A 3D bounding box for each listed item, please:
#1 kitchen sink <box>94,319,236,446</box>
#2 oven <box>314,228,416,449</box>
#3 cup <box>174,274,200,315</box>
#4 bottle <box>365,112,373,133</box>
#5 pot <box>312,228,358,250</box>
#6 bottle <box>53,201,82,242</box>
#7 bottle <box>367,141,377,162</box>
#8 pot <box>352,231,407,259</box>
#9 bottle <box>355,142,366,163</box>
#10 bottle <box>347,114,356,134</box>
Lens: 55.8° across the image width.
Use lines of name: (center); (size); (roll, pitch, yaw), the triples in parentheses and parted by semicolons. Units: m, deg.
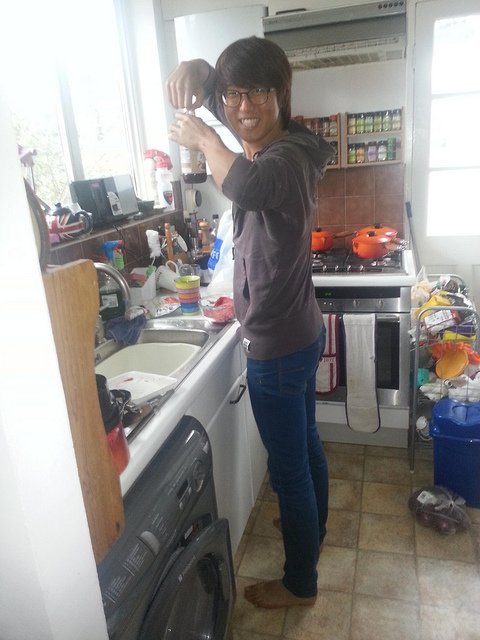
kitchen sink: (-0.273, 0.173, 1.557); (0.360, 0.329, 0.373); (6, 19, 10)
oven: (0.619, 0.206, 2.335); (0.389, 0.696, 0.345); (8, -10, -44)
cup: (-0.215, -0.100, 1.918); (0.106, 0.160, 0.114); (-2, 15, 1)
bottle: (0.732, -1.127, 2.596); (0.041, 0.103, 0.028); (0, 18, 17)
pot: (0.489, -0.438, 2.459); (0.167, 0.087, 0.120); (0, 18, 12)
bottle: (-0.639, -0.381, 1.690); (0.069, 0.150, 0.048); (-17, -6, -2)
bottle: (0.766, -0.978, 2.638); (0.049, 0.110, 0.023); (-1, 17, 14)
pot: (0.673, -0.378, 2.274); (0.122, 0.094, 0.188); (-20, 27, -27)
bottle: (0.703, -0.983, 2.667); (0.056, 0.104, 0.044); (-15, 20, -28)
bottle: (0.642, -1.131, 2.624); (0.050, 0.103, 0.030); (6, 20, 33)
